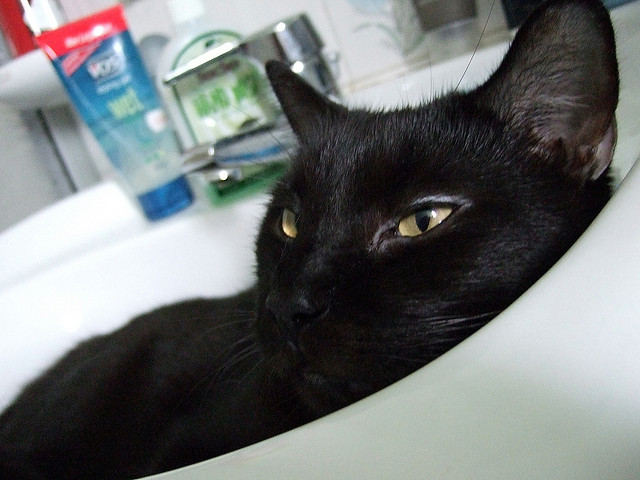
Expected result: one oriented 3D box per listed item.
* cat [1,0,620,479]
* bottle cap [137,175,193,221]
[{"bbox_3d":[-0.078,0.081,0.645,0.228,0.376,0.677,-3,-17,-31],"label":"cat"},{"bbox_3d":[-0.215,-0.054,0.903,0.075,0.024,0.083,-11,-25,-39],"label":"bottle cap"}]
